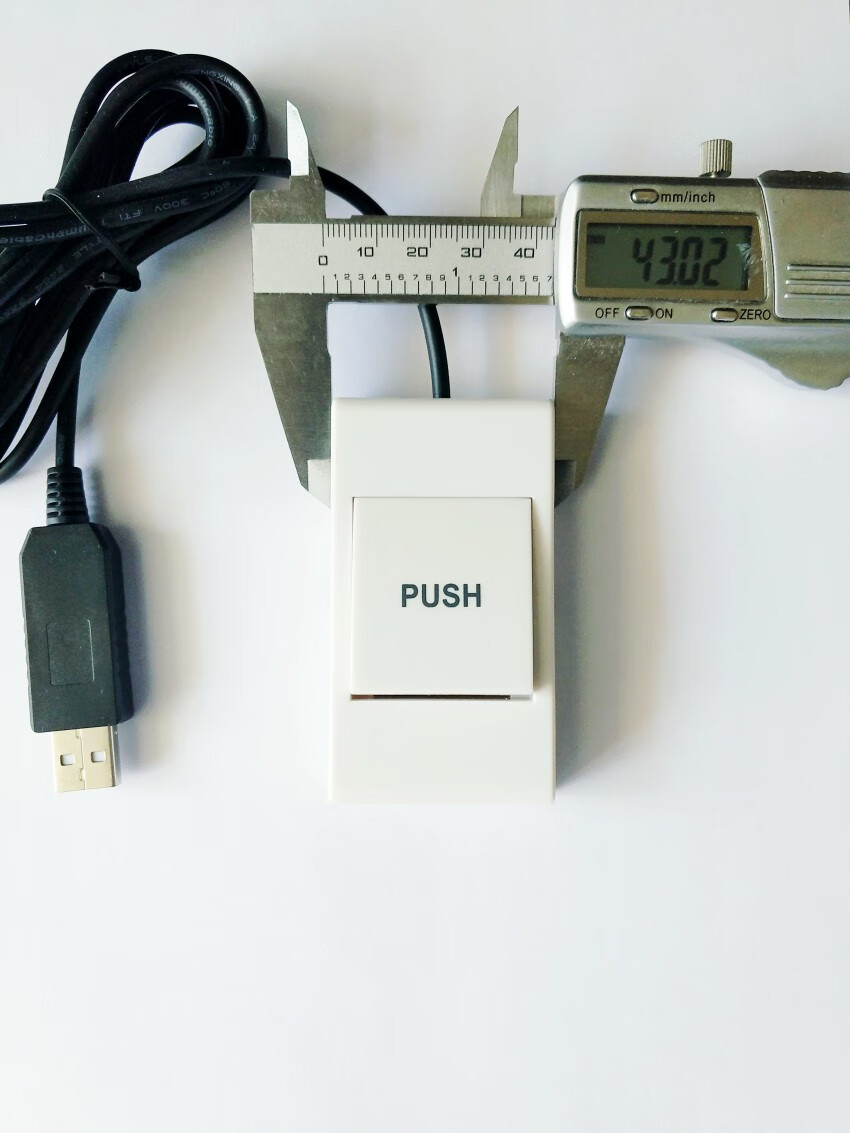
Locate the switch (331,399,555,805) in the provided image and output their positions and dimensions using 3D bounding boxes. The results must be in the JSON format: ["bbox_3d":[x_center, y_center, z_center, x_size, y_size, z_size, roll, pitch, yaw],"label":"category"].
[{"bbox_3d":[0.015,0.016,0.966,0.171,0.310,0.144,1,9,10],"label":"switch"}]
